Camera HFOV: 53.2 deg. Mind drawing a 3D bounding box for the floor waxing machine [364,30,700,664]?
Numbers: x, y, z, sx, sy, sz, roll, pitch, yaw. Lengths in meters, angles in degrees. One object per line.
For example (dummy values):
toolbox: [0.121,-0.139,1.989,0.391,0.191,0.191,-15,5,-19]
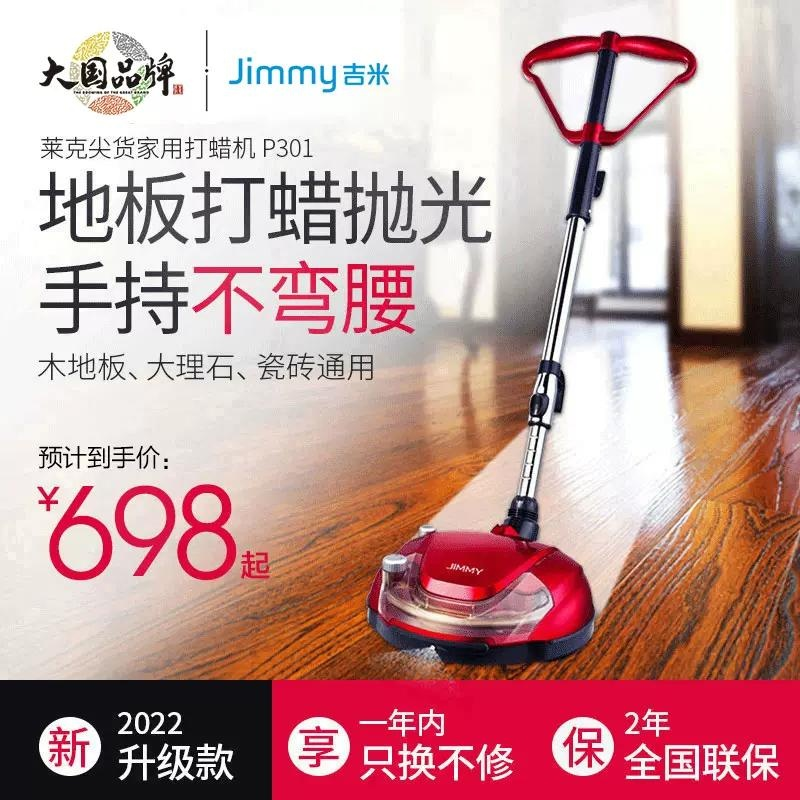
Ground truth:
floor waxing machine: [0.206,-0.119,1.293,0.324,0.994,0.523,8,10,32]
